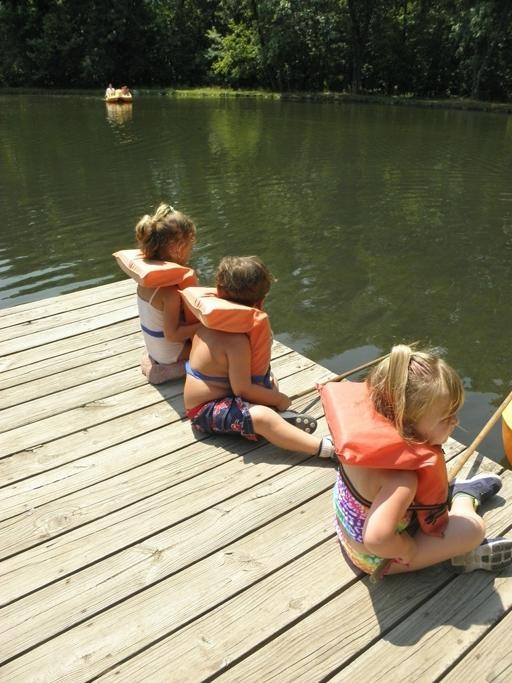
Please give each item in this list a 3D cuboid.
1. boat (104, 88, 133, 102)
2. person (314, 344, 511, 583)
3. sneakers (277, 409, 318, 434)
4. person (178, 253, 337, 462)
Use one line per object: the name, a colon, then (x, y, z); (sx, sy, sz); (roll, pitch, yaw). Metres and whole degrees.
boat: (-5.854, -10.454, 29.253); (1.013, 0.676, 1.427); (-4, 27, -4)
person: (0.531, 0.377, 2.299); (0.582, 0.814, 0.566); (-7, 30, -8)
sneakers: (0.189, 0.351, 3.049); (0.207, 0.077, 0.067); (22, 68, 6)
person: (0.116, 0.030, 3.036); (0.806, 0.827, 0.695); (-7, 28, -14)
